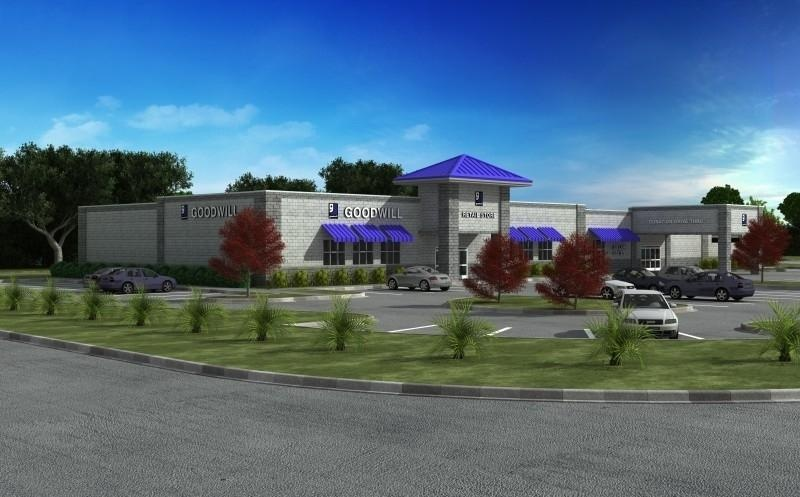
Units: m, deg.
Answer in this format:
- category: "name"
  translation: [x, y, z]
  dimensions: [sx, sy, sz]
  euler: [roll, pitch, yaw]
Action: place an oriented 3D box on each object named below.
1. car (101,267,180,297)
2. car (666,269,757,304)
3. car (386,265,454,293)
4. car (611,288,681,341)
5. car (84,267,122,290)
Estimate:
- category: "car"
  translation: [-17.110, 2.044, 37.206]
  dimensions: [4.234, 1.648, 1.843]
  euler: [2, -3, -26]
- category: "car"
  translation: [17.848, 2.154, 33.084]
  dimensions: [4.325, 1.288, 1.937]
  euler: [3, 1, 26]
- category: "car"
  translation: [1.369, 2.075, 40.238]
  dimensions: [4.259, 1.633, 1.186]
  euler: [-1, -3, 29]
- category: "car"
  translation: [8.268, 2.181, 19.174]
  dimensions: [1.696, 1.481, 2.574]
  euler: [-1, -3, 22]
- category: "car"
  translation: [-18.902, 1.911, 36.866]
  dimensions: [1.485, 0.867, 3.032]
  euler: [0, 3, 4]
